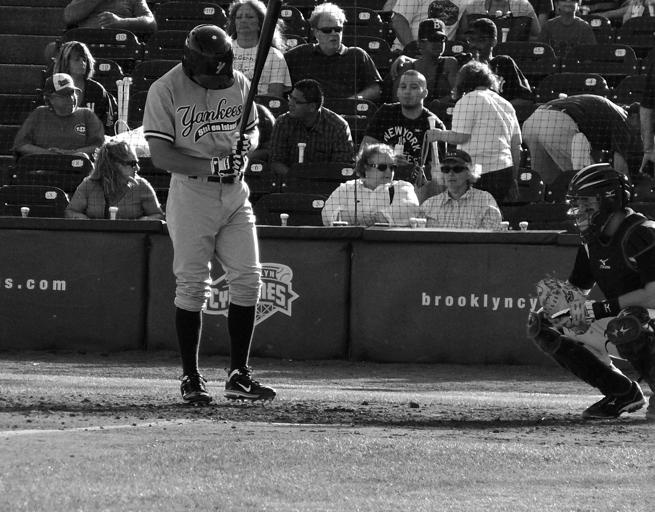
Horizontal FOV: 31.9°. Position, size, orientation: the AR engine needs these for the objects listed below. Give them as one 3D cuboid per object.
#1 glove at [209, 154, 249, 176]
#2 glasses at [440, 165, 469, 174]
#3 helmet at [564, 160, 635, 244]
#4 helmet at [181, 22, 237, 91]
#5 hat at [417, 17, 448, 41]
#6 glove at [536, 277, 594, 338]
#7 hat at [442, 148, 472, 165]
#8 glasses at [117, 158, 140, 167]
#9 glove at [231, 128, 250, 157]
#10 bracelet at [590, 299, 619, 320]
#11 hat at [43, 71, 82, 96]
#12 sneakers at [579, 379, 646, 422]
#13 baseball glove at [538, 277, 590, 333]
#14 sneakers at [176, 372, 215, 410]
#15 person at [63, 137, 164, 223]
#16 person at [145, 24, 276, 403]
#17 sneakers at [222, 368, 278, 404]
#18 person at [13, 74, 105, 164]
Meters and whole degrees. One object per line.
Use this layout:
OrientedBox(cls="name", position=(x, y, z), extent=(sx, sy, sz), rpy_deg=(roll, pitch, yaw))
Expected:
OrientedBox(cls="glove", position=(-0.620, -0.551, 7.133), extent=(0.223, 0.148, 0.108), rpy_deg=(0, 5, -10))
OrientedBox(cls="glasses", position=(1.078, -0.718, 9.724), extent=(0.222, 0.063, 0.062), rpy_deg=(2, 5, 8))
OrientedBox(cls="helmet", position=(1.697, -0.341, 7.220), extent=(0.498, 0.527, 0.417), rpy_deg=(2, 1, 6))
OrientedBox(cls="helmet", position=(-0.777, -1.253, 7.106), extent=(0.322, 0.284, 0.383), rpy_deg=(-13, 54, -23))
OrientedBox(cls="hat", position=(1.117, -2.341, 11.982), extent=(0.272, 0.192, 0.380), rpy_deg=(-1, 6, -7))
OrientedBox(cls="glove", position=(1.511, 0.344, 7.422), extent=(0.388, 0.198, 0.288), rpy_deg=(27, 14, -37))
OrientedBox(cls="hat", position=(1.091, -0.834, 9.767), extent=(0.213, 0.119, 0.220), rpy_deg=(-1, 6, -29))
OrientedBox(cls="glasses", position=(-1.679, -0.763, 9.628), extent=(0.066, 0.065, 0.173), rpy_deg=(6, 7, 45))
OrientedBox(cls="glove", position=(-0.549, -0.698, 7.225), extent=(0.116, 0.148, 0.065), rpy_deg=(-1, -7, -13))
OrientedBox(cls="bracelet", position=(1.745, 0.338, 7.212), extent=(0.116, 0.072, 0.151), rpy_deg=(1, -8, 2))
OrientedBox(cls="hat", position=(-2.542, -1.594, 10.896), extent=(0.310, 0.167, 0.223), rpy_deg=(-8, 18, 1))
OrientedBox(cls="sneakers", position=(1.819, 0.920, 7.274), extent=(0.485, 0.220, 0.169), rpy_deg=(-11, -3, -17))
OrientedBox(cls="baseball glove", position=(1.476, 0.316, 7.429), extent=(0.374, 0.330, 0.281), rpy_deg=(-15, 13, -32))
OrientedBox(cls="sneakers", position=(-0.817, 0.834, 7.157), extent=(0.195, 0.195, 0.258), rpy_deg=(1, 5, -6))
OrientedBox(cls="person", position=(-1.846, -0.541, 9.923), extent=(0.949, 0.714, 0.651), rpy_deg=(1, 4, -22))
OrientedBox(cls="person", position=(-0.739, -0.252, 7.195), extent=(0.833, 2.351, 0.404), rpy_deg=(0, 5, -10))
OrientedBox(cls="sneakers", position=(-0.513, 0.822, 7.256), extent=(0.402, 0.231, 0.145), rpy_deg=(2, 4, -2))
OrientedBox(cls="person", position=(-2.644, -1.329, 11.122), extent=(0.767, 0.688, 0.957), rpy_deg=(0, 7, -13))
